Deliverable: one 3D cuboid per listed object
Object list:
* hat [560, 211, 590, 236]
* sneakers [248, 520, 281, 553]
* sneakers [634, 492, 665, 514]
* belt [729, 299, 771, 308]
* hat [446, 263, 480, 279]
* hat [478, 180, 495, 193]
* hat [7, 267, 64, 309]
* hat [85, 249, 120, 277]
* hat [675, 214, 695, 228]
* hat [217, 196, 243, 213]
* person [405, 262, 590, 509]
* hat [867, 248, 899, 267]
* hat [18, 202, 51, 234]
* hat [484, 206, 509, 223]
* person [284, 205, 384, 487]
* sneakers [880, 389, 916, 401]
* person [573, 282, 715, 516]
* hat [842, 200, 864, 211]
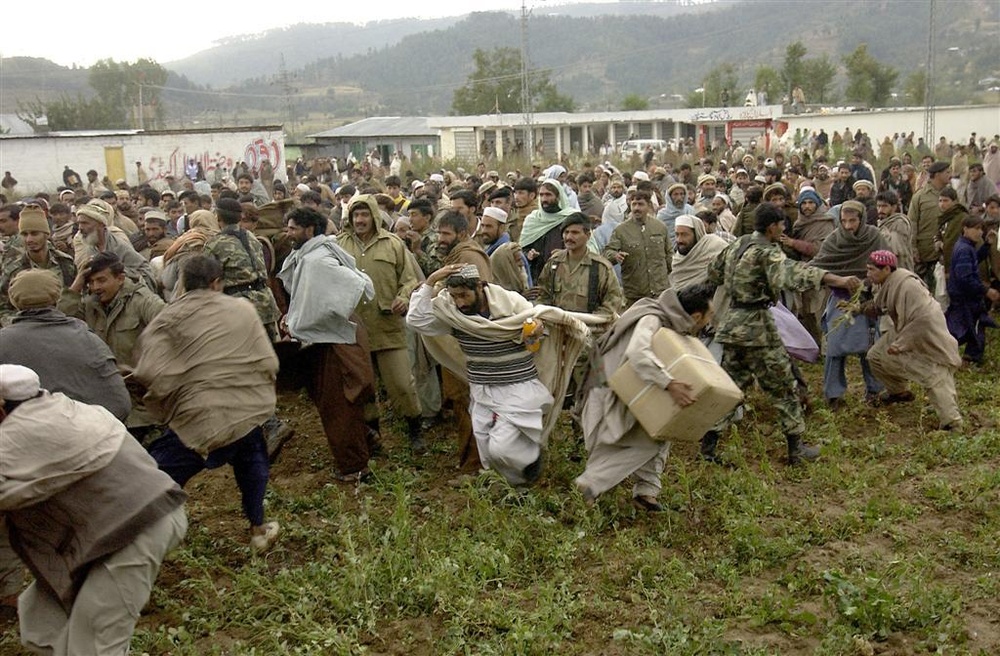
[{"bbox_3d":[0.737,-1.025,8.015,0.429,0.248,0.593,1,4,4],"label":"hat"},{"bbox_3d":[-1.907,1.675,6.653,0.147,0.191,0.278,8,50,26],"label":"sneakers"},{"bbox_3d":[1.282,1.493,6.985,0.211,0.126,0.085,22,9,37],"label":"sneakers"},{"bbox_3d":[2.387,-0.237,7.740,0.357,0.107,0.110,2,14,15],"label":"belt"},{"bbox_3d":[-0.303,-0.496,7.086,0.246,0.112,0.211,0,14,9],"label":"hat"},{"bbox_3d":[-0.224,-2.123,12.249,0.305,0.078,0.296,-26,14,-34],"label":"hat"},{"bbox_3d":[-3.444,-0.293,6.097,0.285,0.139,0.353,0,16,-8],"label":"hat"},{"bbox_3d":[-3.289,-0.545,6.782,0.169,0.130,0.233,-3,10,-2],"label":"hat"},{"bbox_3d":[2.073,-1.234,9.200,0.173,0.180,0.231,-3,-1,30],"label":"hat"},{"bbox_3d":[-2.777,-1.251,8.343,0.198,0.188,0.233,23,4,-25],"label":"hat"},{"bbox_3d":[0.041,0.429,7.204,1.529,1.988,0.630,-1,14,5],"label":"person"},{"bbox_3d":[3.886,-0.719,8.293,0.178,0.146,0.245,-6,6,-4],"label":"hat"},{"bbox_3d":[-4.692,-1.105,8.163,0.238,0.291,0.270,-10,16,-30],"label":"hat"},{"bbox_3d":[-0.055,-1.245,8.945,0.217,0.121,0.212,9,10,-5],"label":"hat"},{"bbox_3d":[-1.564,0.135,7.587,0.740,2.519,0.595,3,15,20],"label":"person"},{"bbox_3d":[4.338,0.745,8.904,0.372,0.130,0.160,-7,-1,23],"label":"sneakers"},{"bbox_3d":[1.182,0.595,6.913,1.026,1.889,0.775,1,14,12],"label":"person"},{"bbox_3d":[3.936,-1.380,9.090,0.204,0.111,0.155,-9,9,-42],"label":"hat"}]
